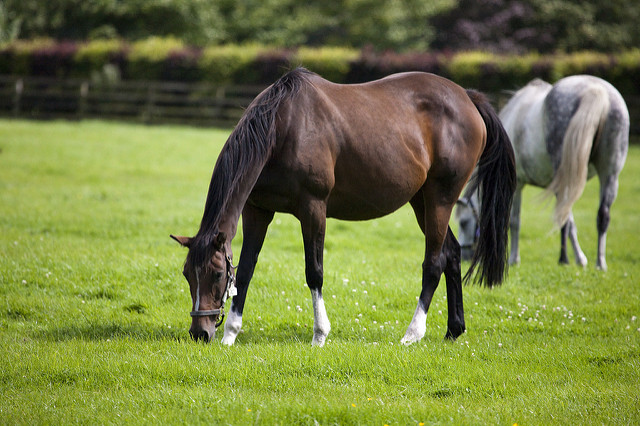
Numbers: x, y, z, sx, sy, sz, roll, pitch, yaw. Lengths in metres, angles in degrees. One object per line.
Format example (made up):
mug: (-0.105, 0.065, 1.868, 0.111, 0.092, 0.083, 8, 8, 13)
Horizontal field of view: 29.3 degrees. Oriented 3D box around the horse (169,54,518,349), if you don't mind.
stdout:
horse: (0.907, -0.026, 33.264, 8.543, 6.978, 2.932, -6, 6, -15)
